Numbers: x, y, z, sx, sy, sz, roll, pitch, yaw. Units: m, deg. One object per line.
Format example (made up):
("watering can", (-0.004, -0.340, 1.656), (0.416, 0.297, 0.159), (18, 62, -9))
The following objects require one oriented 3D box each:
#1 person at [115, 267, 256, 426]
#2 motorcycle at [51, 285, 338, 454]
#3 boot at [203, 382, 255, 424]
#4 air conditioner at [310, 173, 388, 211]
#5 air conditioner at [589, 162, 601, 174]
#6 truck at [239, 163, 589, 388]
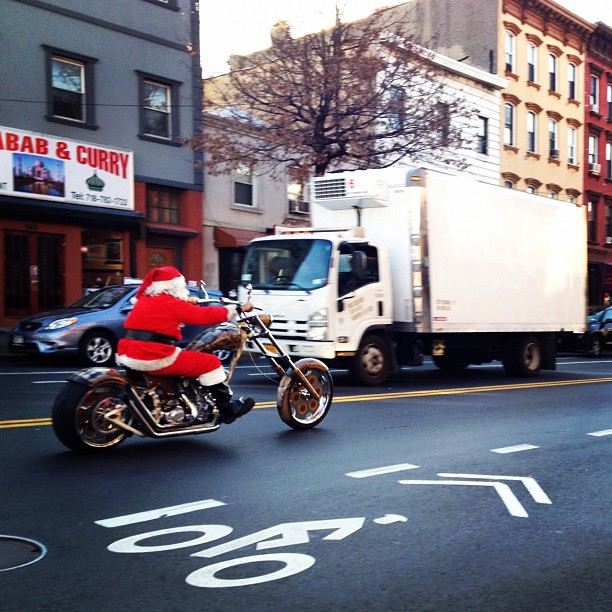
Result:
("person", (-1.181, 0.203, 6.909), (1.628, 1.382, 1.195), (-7, 15, -32))
("motorcycle", (-0.920, 0.731, 7.237), (3.477, 1.447, 1.337), (-2, 6, -35))
("boot", (-0.698, 0.874, 6.575), (0.237, 0.390, 0.498), (-1, 2, 24))
("air conditioner", (0.731, -2.109, 12.523), (1.244, 0.472, 0.712), (5, 14, 44))
("air conditioner", (16.605, -7.946, 41.229), (0.933, 0.663, 0.466), (3, -6, -34))
("truck", (2.218, -0.455, 13.981), (2.809, 3.287, 8.298), (3, 2, 44))
